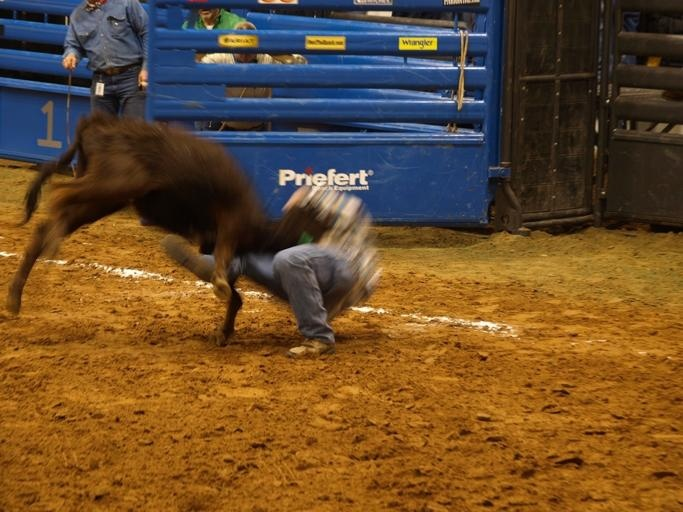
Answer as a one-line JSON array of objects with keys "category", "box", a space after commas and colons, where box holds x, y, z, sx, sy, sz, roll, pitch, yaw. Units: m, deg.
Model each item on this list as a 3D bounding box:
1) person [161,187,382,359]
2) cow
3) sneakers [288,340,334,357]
[{"category": "person", "box": [-0.586, 0.047, 4.331, 1.527, 0.977, 0.924, 4, -6, 15]}, {"category": "cow", "box": [-1.209, -0.335, 4.079, 1.846, 1.114, 0.538, 4, 12, 13]}, {"category": "sneakers", "box": [-0.193, 0.589, 4.093, 0.242, 0.068, 0.113, 0, -13, -13]}]
